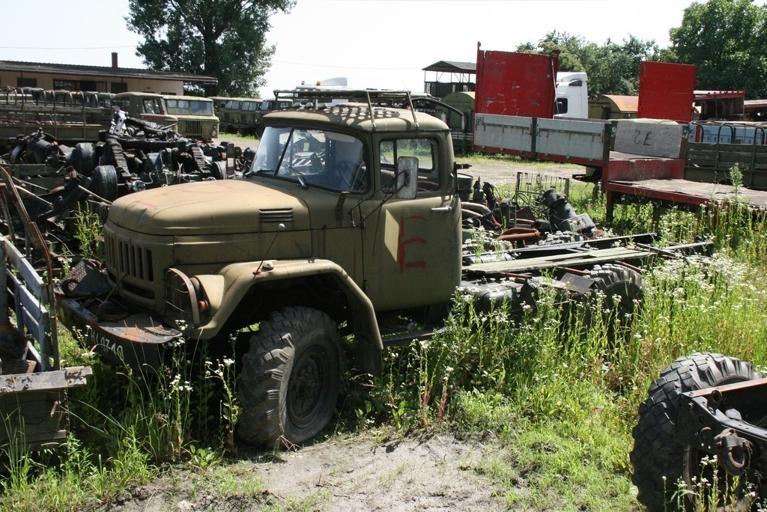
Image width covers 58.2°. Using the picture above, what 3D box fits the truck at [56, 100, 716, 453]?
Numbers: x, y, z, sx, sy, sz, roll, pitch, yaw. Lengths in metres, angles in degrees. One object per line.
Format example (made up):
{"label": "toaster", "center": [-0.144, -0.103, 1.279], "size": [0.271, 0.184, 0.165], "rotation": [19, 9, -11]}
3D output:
{"label": "truck", "center": [-0.483, 0.020, 7.568], "size": [5.607, 3.501, 2.171], "rotation": [-4, 9, -29]}
